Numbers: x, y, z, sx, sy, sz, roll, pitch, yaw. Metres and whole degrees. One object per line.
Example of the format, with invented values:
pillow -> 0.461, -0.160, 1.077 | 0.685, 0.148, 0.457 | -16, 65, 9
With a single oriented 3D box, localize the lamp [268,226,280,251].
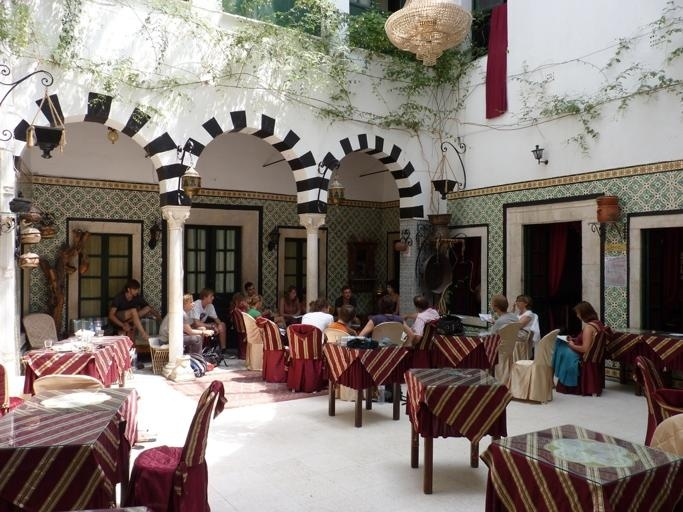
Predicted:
lamp -> -1.515, -0.396, 13.427 | 0.333, 0.572, 0.218 | -4, 8, -36

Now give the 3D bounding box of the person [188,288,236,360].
person -> -2.511, 1.251, 10.885 | 0.738, 1.343, 0.700 | 3, 13, 16

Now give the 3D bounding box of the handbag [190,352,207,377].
handbag -> -2.332, 1.759, 9.646 | 0.229, 0.345, 0.113 | 2, 13, 37

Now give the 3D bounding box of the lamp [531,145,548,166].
lamp -> 3.488, -1.765, 10.284 | 0.298, 0.344, 0.210 | 3, 7, 25

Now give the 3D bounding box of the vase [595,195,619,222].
vase -> 4.164, -0.719, 9.323 | 0.403, 0.375, 0.359 | 0, -4, 1

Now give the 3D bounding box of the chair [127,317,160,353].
chair -> -3.693, 1.521, 11.344 | 0.666, 0.633, 0.689 | 1, -4, -2

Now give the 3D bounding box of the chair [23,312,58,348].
chair -> -5.124, 1.253, 9.955 | 0.492, 0.778, 0.438 | -13, -11, 38

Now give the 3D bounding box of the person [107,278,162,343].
person -> -3.989, 1.012, 11.279 | 0.819, 1.117, 1.108 | -1, 6, -10

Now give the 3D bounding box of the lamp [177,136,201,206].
lamp -> -2.388, -1.362, 9.190 | 0.285, 0.995, 0.589 | -2, 7, -17

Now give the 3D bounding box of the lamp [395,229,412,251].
lamp -> 1.267, -0.297, 11.700 | 0.300, 0.465, 0.316 | 4, 8, 32

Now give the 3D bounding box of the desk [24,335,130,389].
desk -> -3.164, 1.264, 7.517 | 0.780, 0.431, 1.520 | -2, -7, -10

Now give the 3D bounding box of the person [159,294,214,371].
person -> -2.605, 1.255, 9.878 | 0.830, 1.302, 0.997 | -3, 7, -26
